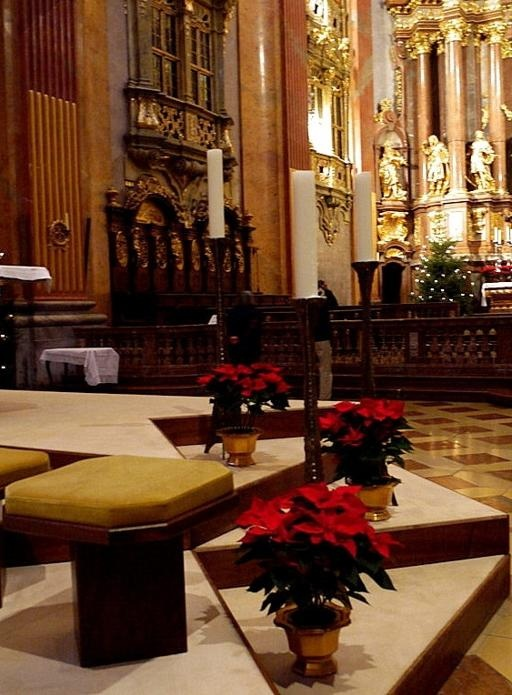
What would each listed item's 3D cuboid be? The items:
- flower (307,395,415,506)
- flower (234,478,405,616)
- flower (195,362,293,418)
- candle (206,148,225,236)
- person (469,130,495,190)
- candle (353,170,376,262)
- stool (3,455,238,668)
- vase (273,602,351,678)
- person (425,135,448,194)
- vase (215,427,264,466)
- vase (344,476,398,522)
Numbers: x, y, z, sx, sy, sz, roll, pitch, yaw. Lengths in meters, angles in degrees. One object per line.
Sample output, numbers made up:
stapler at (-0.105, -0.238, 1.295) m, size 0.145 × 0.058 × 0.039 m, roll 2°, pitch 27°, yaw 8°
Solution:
flower at (0.411, 0.374, 2.868) m, size 0.413 × 0.314 × 0.367 m, roll -3°, pitch 4°, yaw -11°
flower at (0.154, 0.534, 1.853) m, size 0.408 × 0.320 × 0.378 m, roll 13°, pitch -36°, yaw -31°
flower at (-0.042, 0.184, 3.610) m, size 0.355 × 0.166 × 0.302 m, roll 0°, pitch 0°, yaw 1°
candle at (-0.203, -0.757, 3.768) m, size 0.083 × 0.461 × 0.195 m, roll -4°, pitch 4°, yaw -3°
person at (5.627, -4.505, 18.643) m, size 0.618 × 1.478 × 0.521 m, roll -3°, pitch 4°, yaw 0°
candle at (0.481, -0.523, 3.243) m, size 0.089 × 0.310 × 0.077 m, roll 0°, pitch 7°, yaw 12°
stool at (-0.361, 0.531, 1.951) m, size 0.473 × 0.398 × 0.457 m, roll -1°, pitch 4°, yaw 20°
vase at (0.156, 0.759, 2.023) m, size 0.235 × 0.125 × 0.204 m, roll -1°, pitch 1°, yaw -1°
person at (4.521, -4.456, 18.841) m, size 0.620 × 1.467 × 0.304 m, roll -2°, pitch 4°, yaw 15°
vase at (-0.075, 0.453, 3.490) m, size 0.201 × 0.107 × 0.174 m, roll 0°, pitch -5°, yaw -1°
vase at (0.459, 0.592, 2.909) m, size 0.204 × 0.121 × 0.193 m, roll -21°, pitch -22°, yaw 30°
